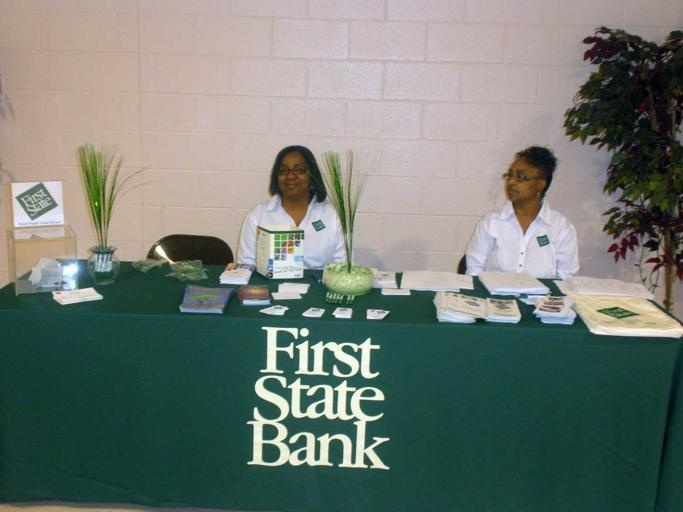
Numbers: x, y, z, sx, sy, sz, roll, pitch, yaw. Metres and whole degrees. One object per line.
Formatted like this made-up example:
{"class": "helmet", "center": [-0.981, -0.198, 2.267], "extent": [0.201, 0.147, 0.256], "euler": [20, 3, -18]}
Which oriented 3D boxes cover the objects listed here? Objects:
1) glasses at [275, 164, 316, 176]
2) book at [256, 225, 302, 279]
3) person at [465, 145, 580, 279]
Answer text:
{"class": "glasses", "center": [-0.287, -0.516, 3.762], "extent": [0.191, 0.065, 0.057], "euler": [0, 13, -7]}
{"class": "book", "center": [-0.314, -0.023, 3.172], "extent": [0.237, 0.249, 0.246], "euler": [0, 18, -6]}
{"class": "person", "center": [1.148, -0.269, 3.885], "extent": [0.684, 0.791, 0.435], "euler": [4, 13, 11]}
